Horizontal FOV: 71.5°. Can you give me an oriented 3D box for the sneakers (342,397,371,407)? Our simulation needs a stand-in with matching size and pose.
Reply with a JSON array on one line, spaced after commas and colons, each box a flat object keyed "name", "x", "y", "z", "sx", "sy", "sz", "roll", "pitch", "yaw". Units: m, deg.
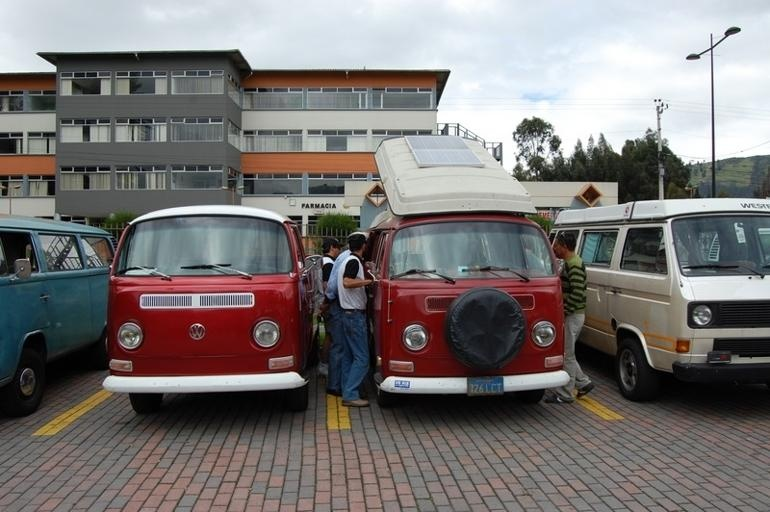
[{"name": "sneakers", "x": -0.451, "y": 2.169, "z": 8.010, "sx": 0.357, "sy": 0.158, "sz": 0.155, "roll": -3, "pitch": 3, "yaw": 0}]

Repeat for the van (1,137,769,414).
[{"name": "van", "x": 0.589, "y": 0.404, "z": 7.838, "sx": 8.596, "sy": 3.655, "sz": 2.135, "roll": -1, "pitch": 7, "yaw": -2}]
